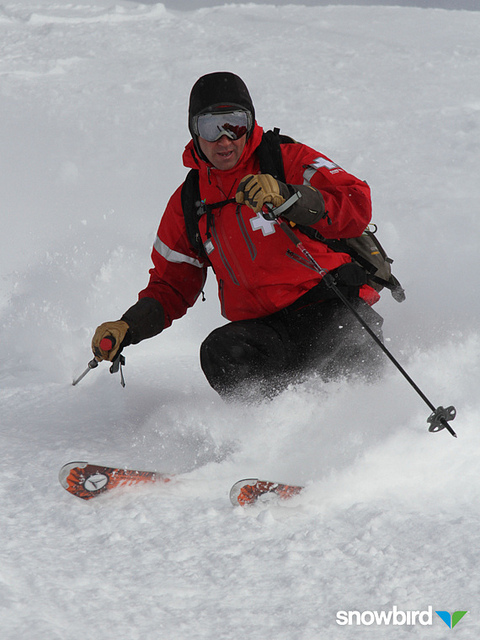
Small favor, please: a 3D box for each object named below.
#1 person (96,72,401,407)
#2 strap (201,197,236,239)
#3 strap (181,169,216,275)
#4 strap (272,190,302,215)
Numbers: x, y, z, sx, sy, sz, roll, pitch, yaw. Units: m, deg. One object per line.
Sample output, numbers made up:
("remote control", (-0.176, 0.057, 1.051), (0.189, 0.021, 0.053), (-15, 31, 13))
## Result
("person", (0.095, -0.388, 4.398), (1.565, 1.933, 1.112), (-1, 40, 14))
("strap", (-0.132, -0.614, 4.409), (0.261, 0.205, 0.090), (-9, 4, -1))
("strap", (-0.246, -0.650, 4.499), (0.153, 0.457, 0.144), (-11, 19, -26))
("strap", (0.248, -0.610, 3.869), (0.127, 0.033, 0.126), (-32, 1, 31))
